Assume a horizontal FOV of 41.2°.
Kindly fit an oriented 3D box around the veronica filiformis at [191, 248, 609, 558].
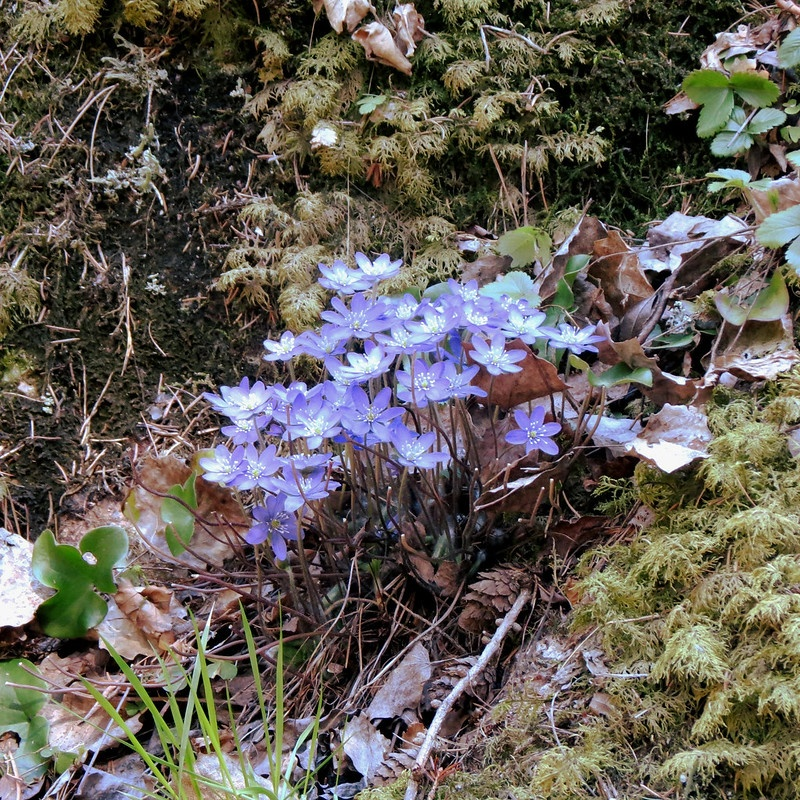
[{"bbox_3d":[-0.015,-0.012,3.126,1.063,1.016,0.732,19,111,48],"label":"veronica filiformis"}]
